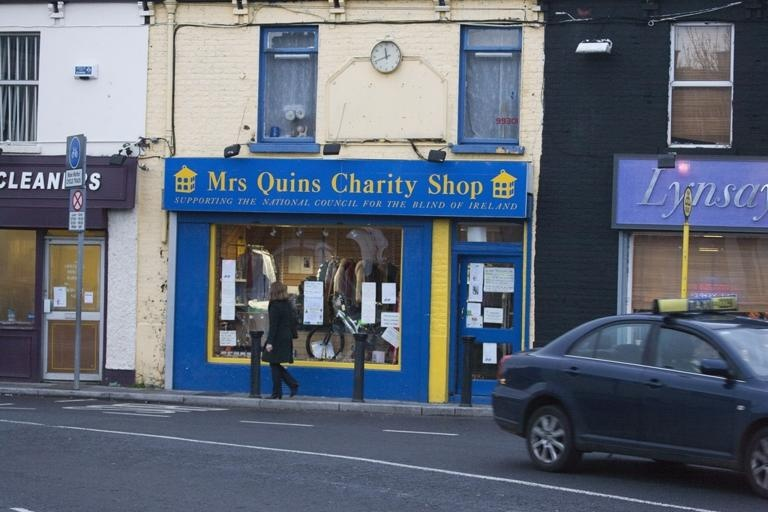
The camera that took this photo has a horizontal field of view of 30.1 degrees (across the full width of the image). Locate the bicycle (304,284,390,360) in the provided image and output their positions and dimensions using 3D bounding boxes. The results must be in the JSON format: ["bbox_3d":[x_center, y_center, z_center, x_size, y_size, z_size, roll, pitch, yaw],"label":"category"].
[{"bbox_3d":[-0.919,1.617,30.289,2.049,1.262,0.997,2,-4,7],"label":"bicycle"}]

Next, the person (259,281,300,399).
[{"bbox_3d":[-2.105,1.666,28.752,0.685,2.321,0.647,1,-2,-5],"label":"person"}]

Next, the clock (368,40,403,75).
[{"bbox_3d":[0.030,-4.101,29.386,0.701,0.697,0.132,-2,-2,7],"label":"clock"}]

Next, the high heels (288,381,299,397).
[{"bbox_3d":[-1.865,2.664,28.628,0.173,0.135,0.407,32,-32,3],"label":"high heels"}]
